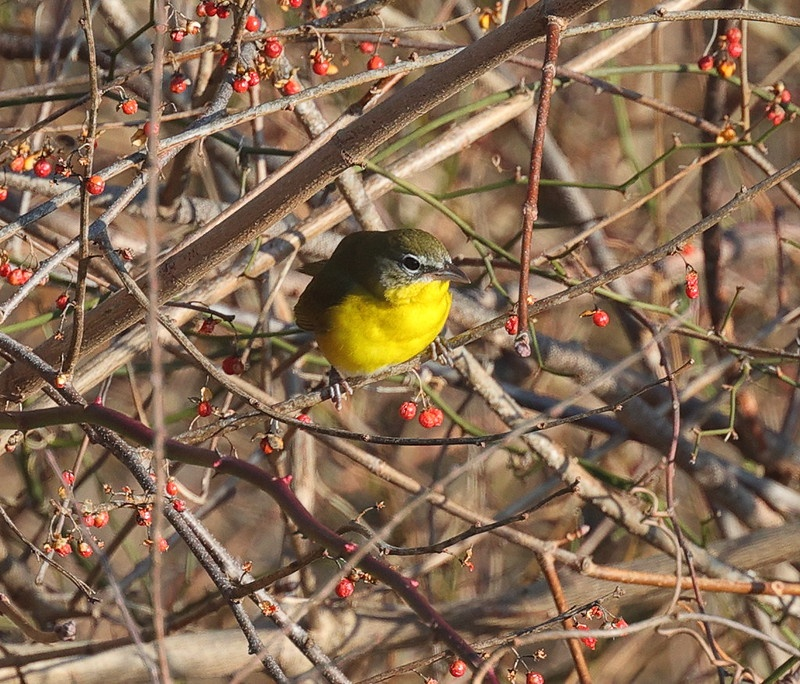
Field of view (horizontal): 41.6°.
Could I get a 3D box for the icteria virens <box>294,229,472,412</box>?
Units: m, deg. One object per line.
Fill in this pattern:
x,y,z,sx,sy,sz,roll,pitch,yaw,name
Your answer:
-0.141,-0.285,5.183,0.973,0.657,0.965,-9,-75,-35,icteria virens
